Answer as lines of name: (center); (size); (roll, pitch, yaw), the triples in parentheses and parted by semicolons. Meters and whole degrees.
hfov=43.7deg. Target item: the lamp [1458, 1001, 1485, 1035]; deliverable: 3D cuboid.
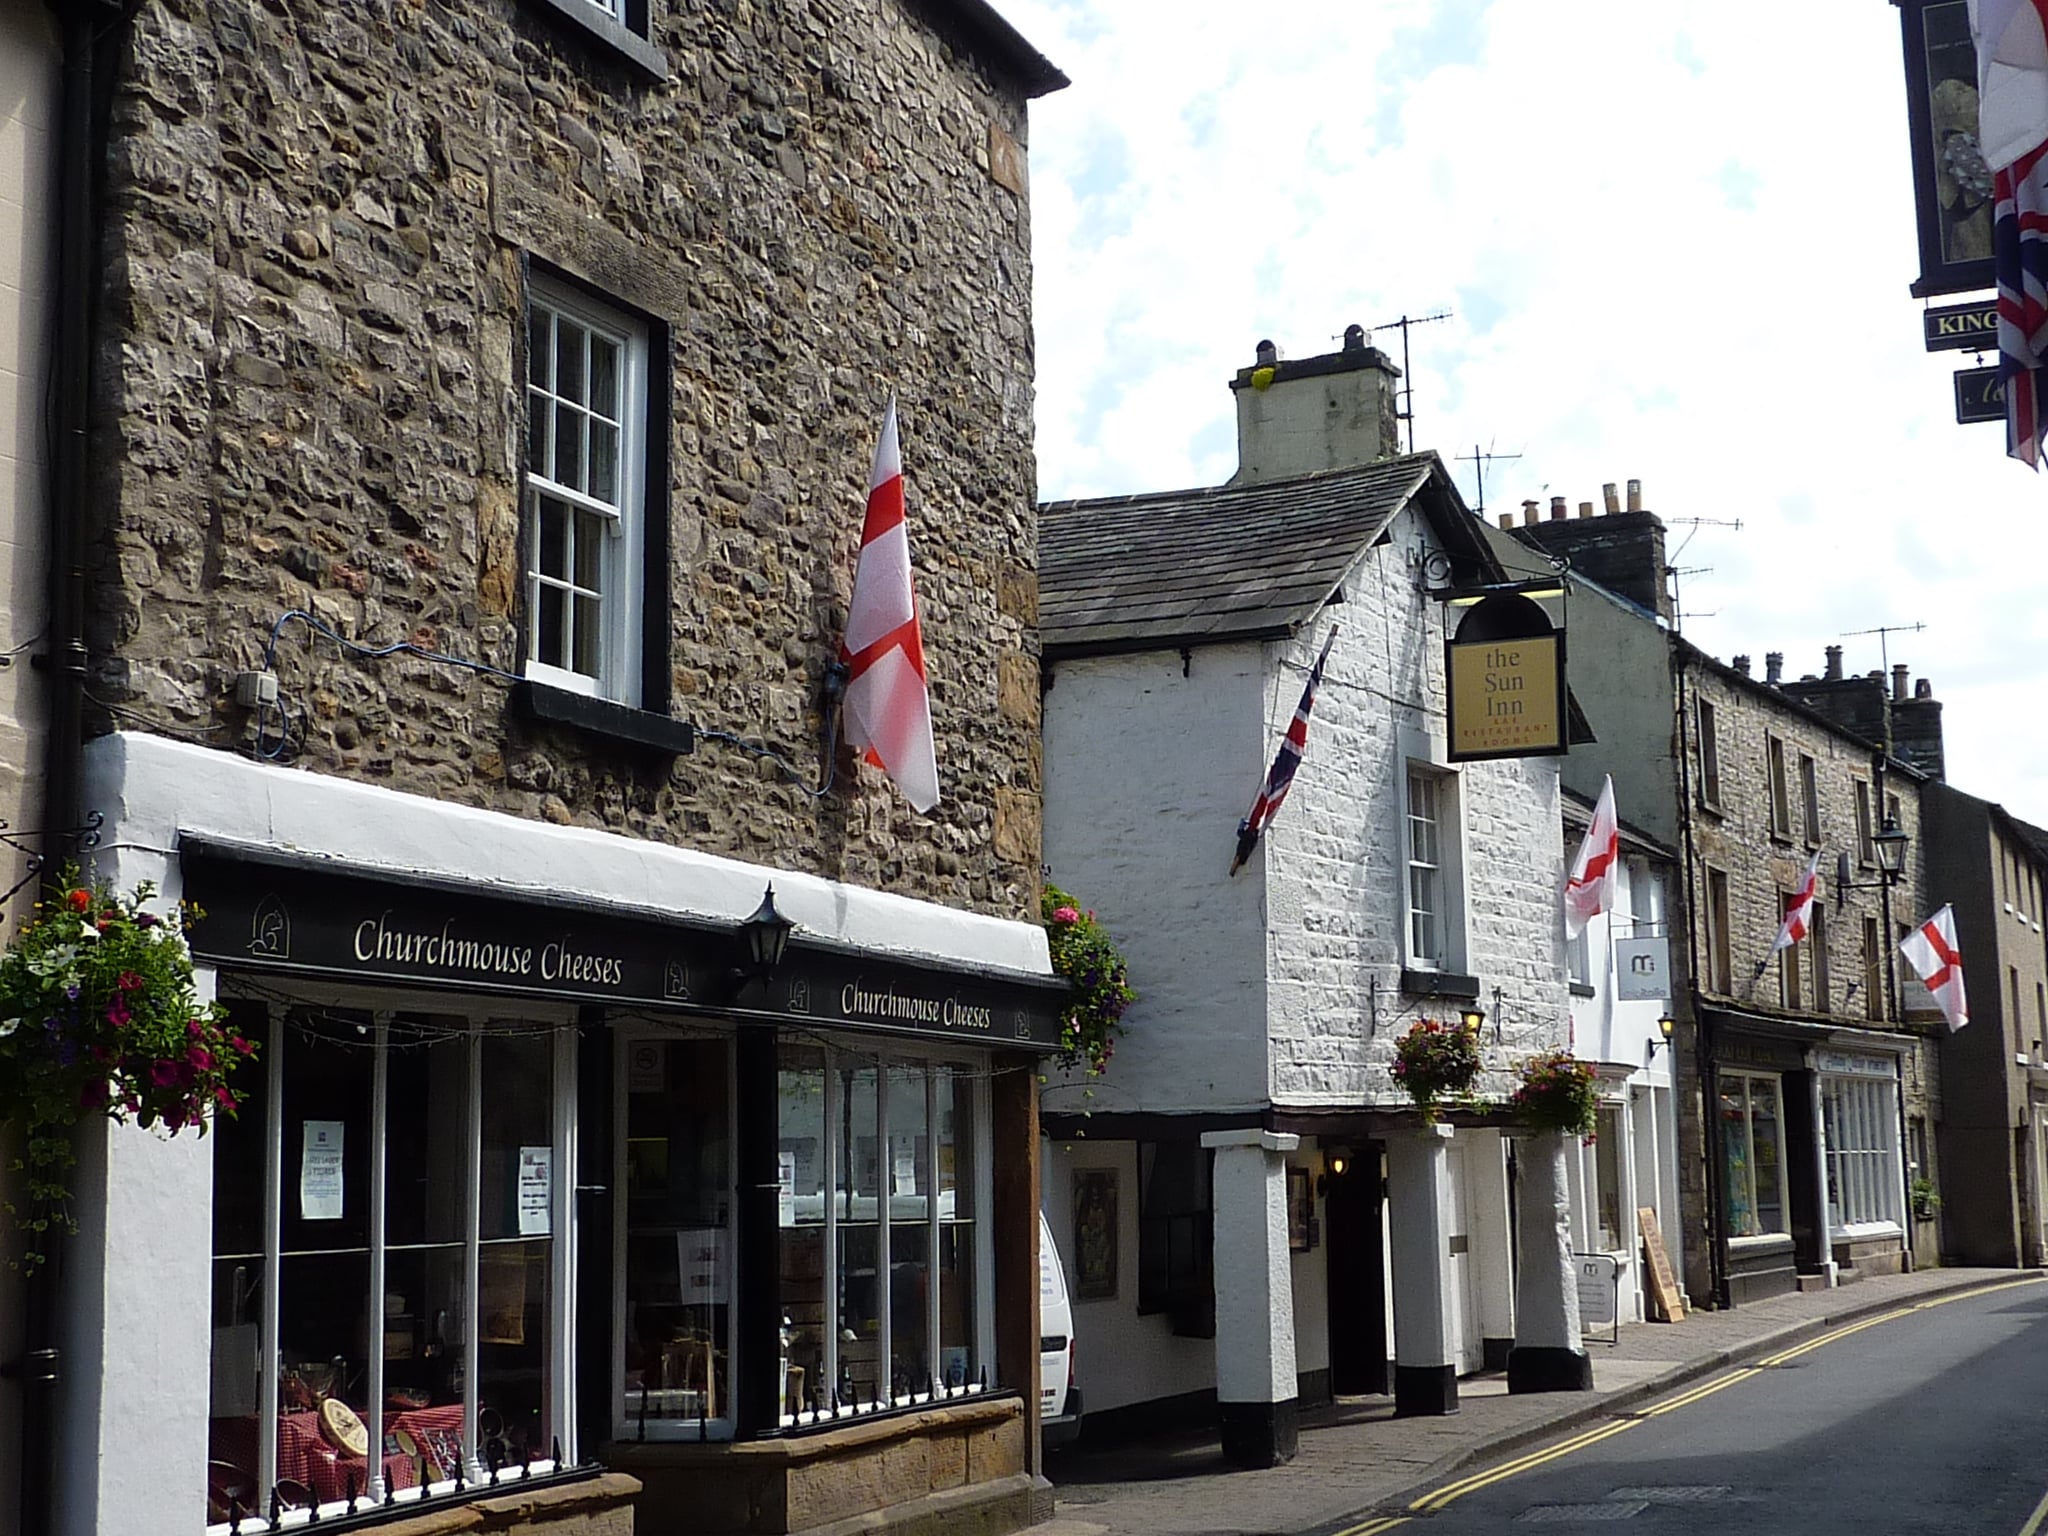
lamp: (3.802, 2.153, 21.684); (0.235, 0.367, 0.281); (-3, 2, 8)

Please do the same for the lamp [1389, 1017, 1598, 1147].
lamp: (4.056, 2.772, 22.508); (0.870, 1.460, 2.618); (-2, -6, 38)

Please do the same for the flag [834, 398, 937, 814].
flag: (-0.848, -0.975, 15.028); (0.545, 2.403, 0.360); (-3, -12, 5)

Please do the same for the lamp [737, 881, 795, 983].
lamp: (-1.406, 0.895, 13.865); (0.404, 0.598, 0.406); (2, -11, -6)

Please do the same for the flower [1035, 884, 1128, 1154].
flower: (0.501, 1.781, 19.542); (0.602, 1.760, 1.682); (-3, -12, 3)

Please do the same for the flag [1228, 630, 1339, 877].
flag: (2.138, -0.153, 20.393); (0.657, 1.989, 1.202); (-12, -15, 37)
